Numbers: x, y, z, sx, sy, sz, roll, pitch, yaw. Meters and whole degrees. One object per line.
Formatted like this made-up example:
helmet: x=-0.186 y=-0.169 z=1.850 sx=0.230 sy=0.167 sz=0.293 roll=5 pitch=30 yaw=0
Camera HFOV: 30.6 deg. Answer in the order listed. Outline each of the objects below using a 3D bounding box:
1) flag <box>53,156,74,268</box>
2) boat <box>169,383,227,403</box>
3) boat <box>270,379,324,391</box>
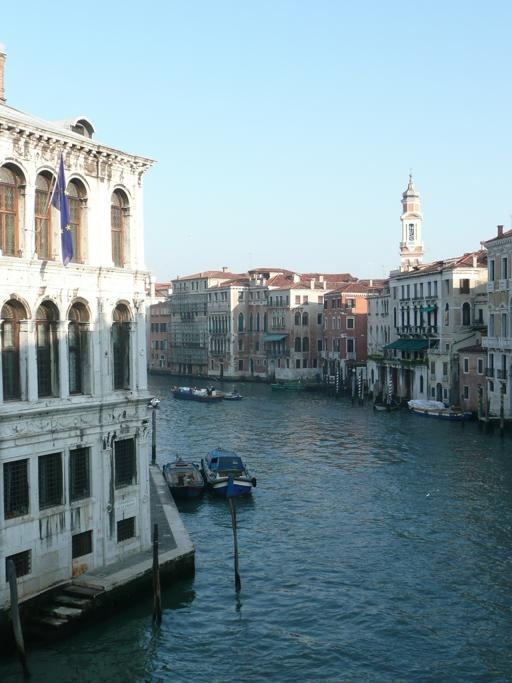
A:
flag: x=-5.666 y=-3.805 z=27.143 sx=0.499 sy=3.080 sz=0.798 roll=-3 pitch=1 yaw=-12
boat: x=-5.862 y=5.387 z=94.551 sx=2.940 sy=1.506 sz=6.900 roll=-3 pitch=0 yaw=-26
boat: x=4.687 y=4.990 z=108.722 sx=5.615 sy=1.119 sz=13.035 roll=-3 pitch=0 yaw=2
